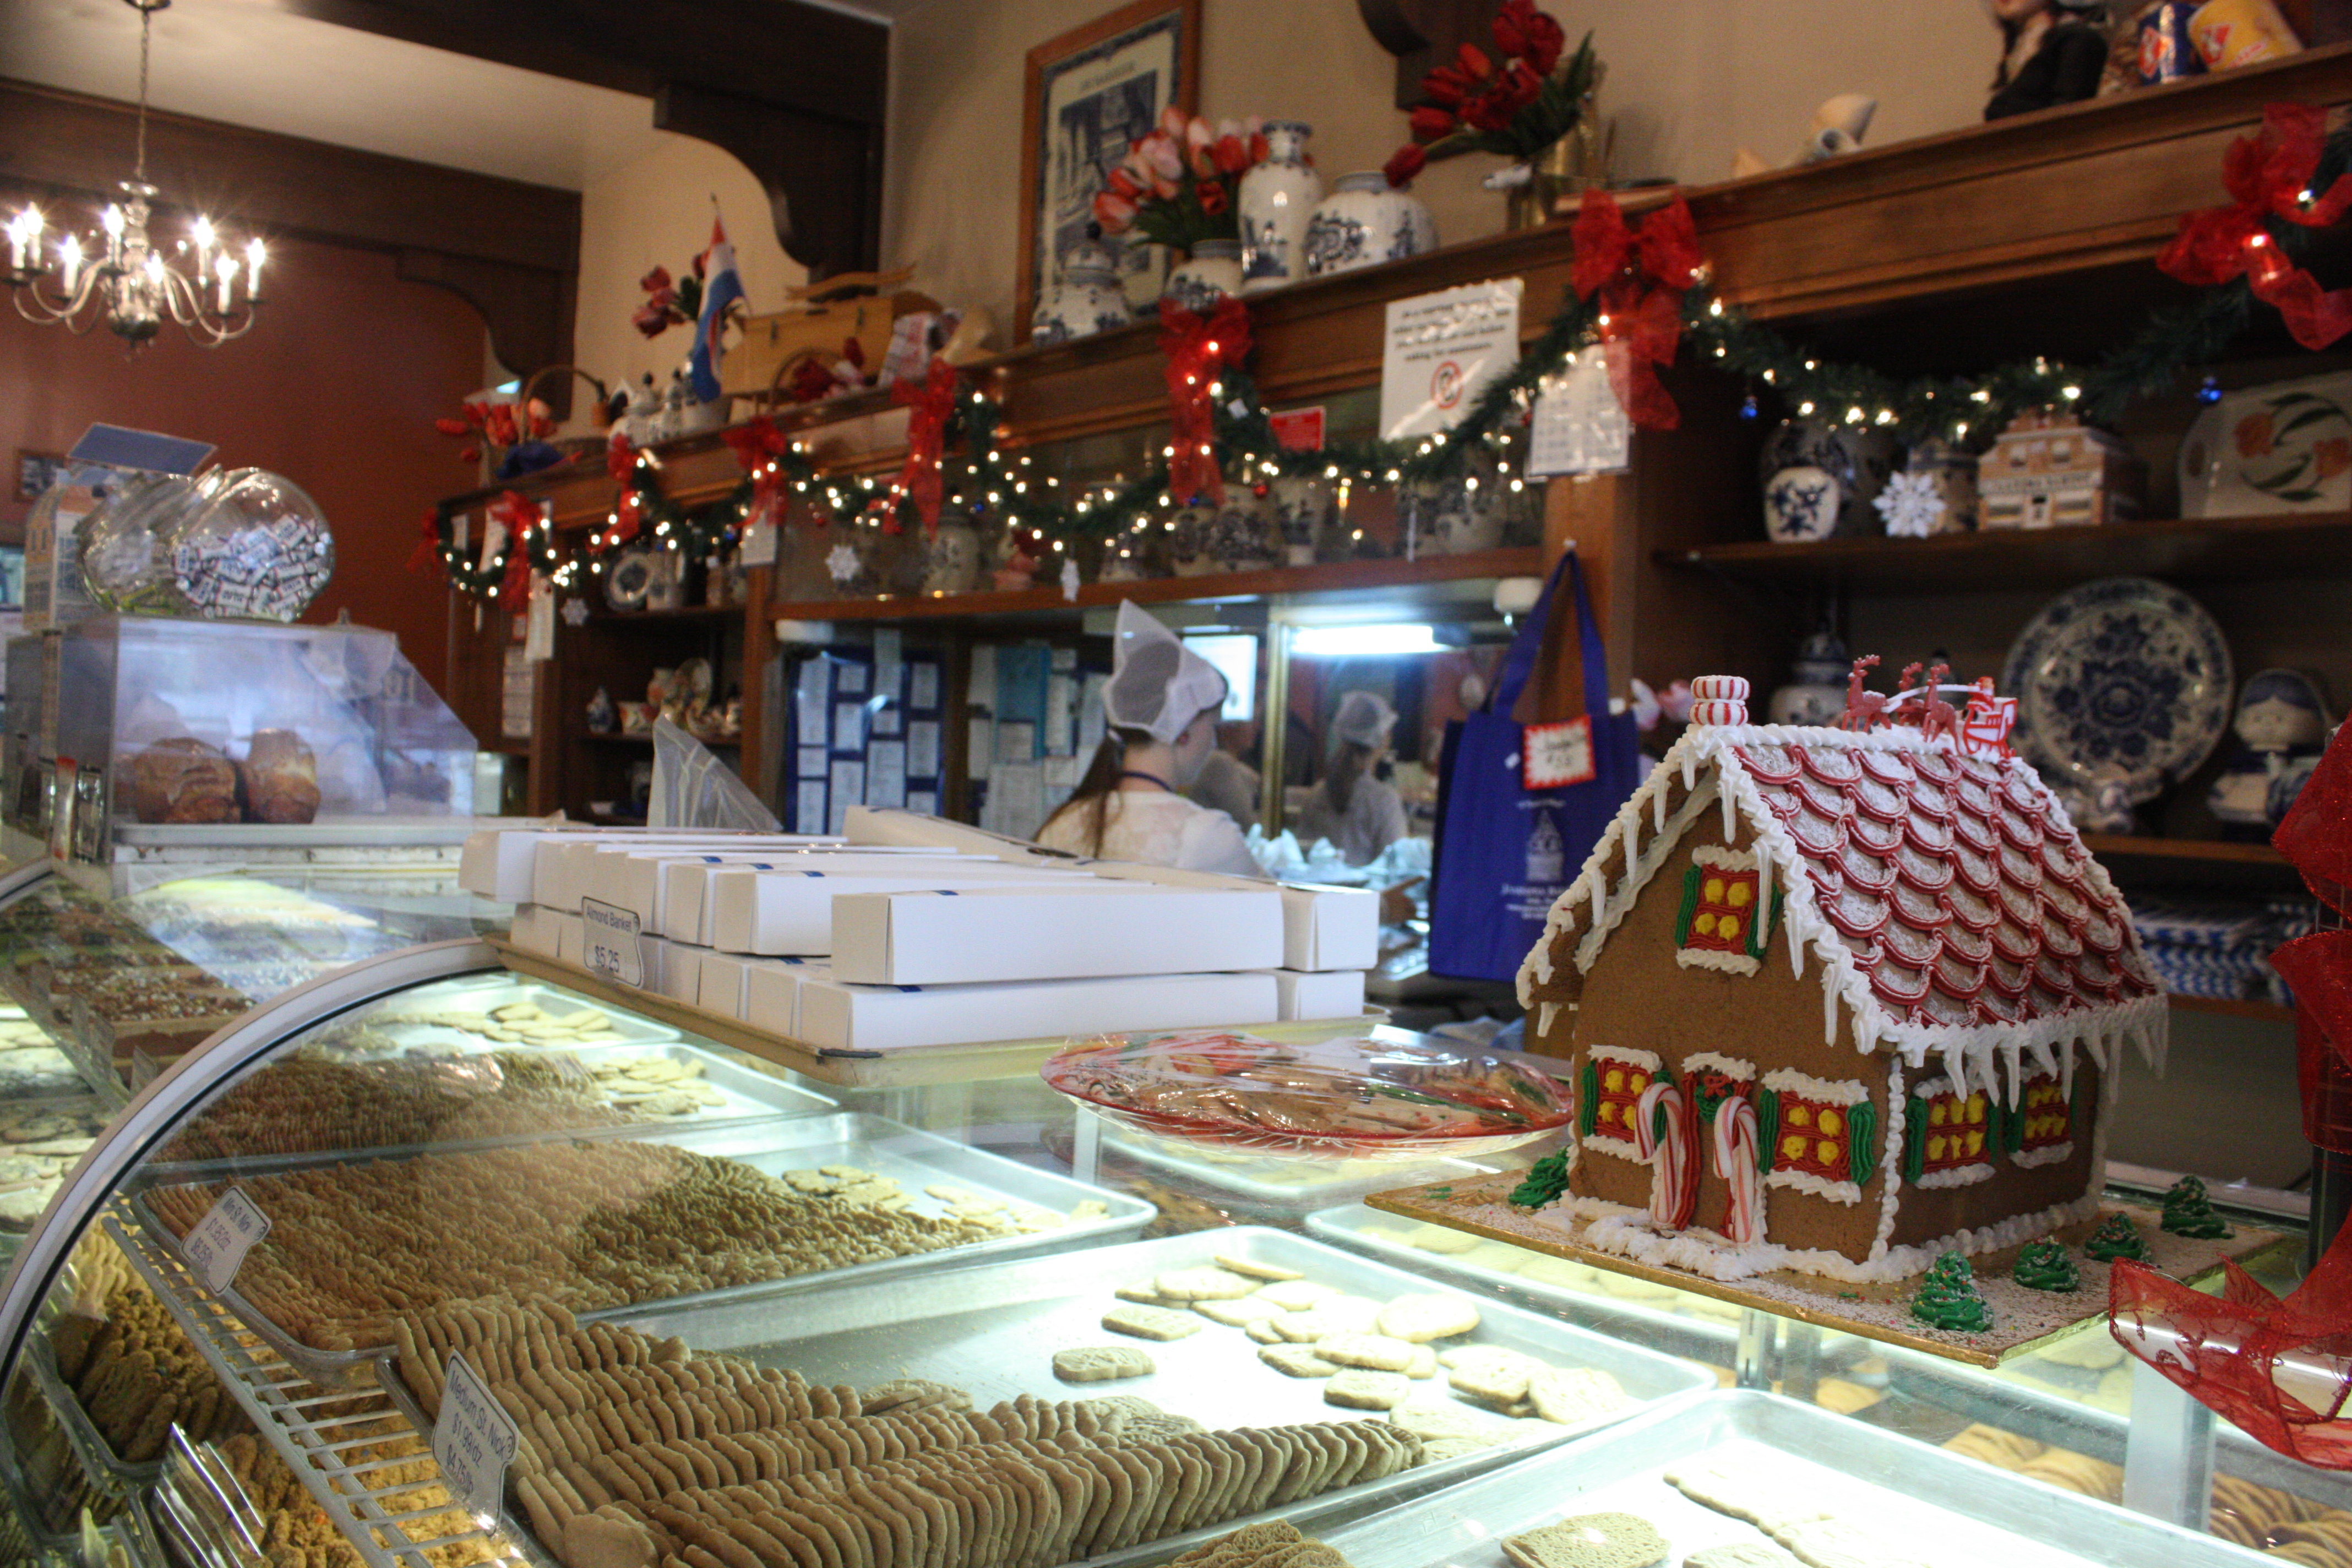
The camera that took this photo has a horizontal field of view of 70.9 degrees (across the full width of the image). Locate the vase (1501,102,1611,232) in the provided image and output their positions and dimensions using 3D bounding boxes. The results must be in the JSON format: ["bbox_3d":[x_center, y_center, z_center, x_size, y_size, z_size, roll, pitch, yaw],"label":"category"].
[{"bbox_3d":[0.792,-1.325,3.467,0.167,0.270,0.283,16,10,38],"label":"vase"}]

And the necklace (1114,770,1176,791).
[{"bbox_3d":[-0.049,-0.008,3.654,0.132,0.041,0.057,1,2,-25],"label":"necklace"}]

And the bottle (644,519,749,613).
[{"bbox_3d":[-1.671,-0.792,5.823,0.321,0.421,0.153,2,2,32],"label":"bottle"}]

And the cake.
[{"bbox_3d":[0.577,0.153,1.615,0.587,0.559,0.455,2,-1,-38],"label":"cake"}]

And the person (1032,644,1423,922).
[{"bbox_3d":[0.200,-0.035,3.828,0.579,0.357,0.798,3,6,18],"label":"person"}]

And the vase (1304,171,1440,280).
[{"bbox_3d":[0.445,-1.221,3.715,0.257,0.223,0.262,3,3,22],"label":"vase"}]

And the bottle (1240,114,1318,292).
[{"bbox_3d":[0.261,-1.371,3.930,0.218,0.376,0.218,-1,14,0],"label":"bottle"}]

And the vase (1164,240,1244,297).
[{"bbox_3d":[0.083,-1.193,3.937,0.155,0.135,0.156,1,-2,15],"label":"vase"}]
